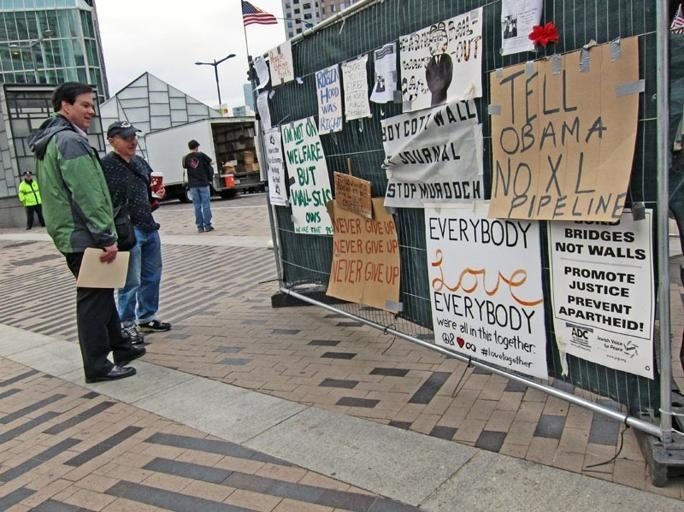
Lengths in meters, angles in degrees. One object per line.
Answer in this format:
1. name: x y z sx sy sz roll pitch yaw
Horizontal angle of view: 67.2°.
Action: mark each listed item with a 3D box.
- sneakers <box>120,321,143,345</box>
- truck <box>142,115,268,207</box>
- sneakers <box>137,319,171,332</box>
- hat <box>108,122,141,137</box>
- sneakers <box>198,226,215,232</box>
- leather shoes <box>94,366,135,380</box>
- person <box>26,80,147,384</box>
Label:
1. sneakers: -2.204 0.813 5.385 0.400 0.167 0.136 16 18 30
2. truck: -7.194 -4.657 25.941 6.205 3.368 3.184 2 12 41
3. sneakers: -2.083 0.775 5.784 0.380 0.165 0.137 -3 15 -7
4. hat: -2.222 -1.277 5.192 0.277 0.112 0.193 -1 16 -1
5. sneakers: -3.652 -0.723 13.812 0.451 0.184 0.174 -1 6 23
6. leather shoes: -2.022 1.037 4.575 0.304 0.112 0.111 -11 16 -33
7. person: -2.240 -0.199 4.526 0.598 2.598 0.616 -13 14 -28
